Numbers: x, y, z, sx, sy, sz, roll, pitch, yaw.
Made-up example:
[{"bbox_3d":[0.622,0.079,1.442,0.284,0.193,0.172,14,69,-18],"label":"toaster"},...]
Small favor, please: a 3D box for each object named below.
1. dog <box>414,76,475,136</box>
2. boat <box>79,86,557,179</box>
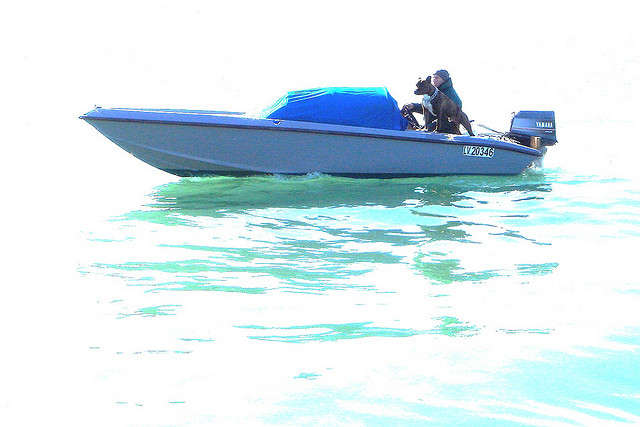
[{"bbox_3d":[2.025,-1.635,10.528,1.774,0.595,0.465,12,-11,-39],"label":"dog"},{"bbox_3d":[-0.151,-1.236,9.697,6.517,1.406,0.807,0,3,-9],"label":"boat"}]
